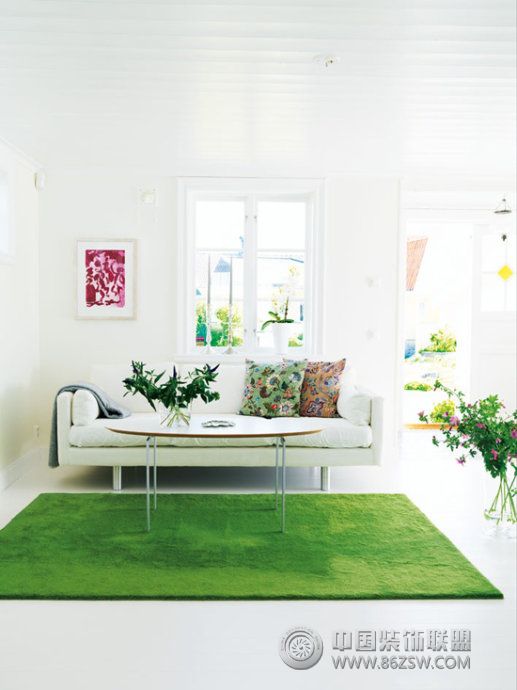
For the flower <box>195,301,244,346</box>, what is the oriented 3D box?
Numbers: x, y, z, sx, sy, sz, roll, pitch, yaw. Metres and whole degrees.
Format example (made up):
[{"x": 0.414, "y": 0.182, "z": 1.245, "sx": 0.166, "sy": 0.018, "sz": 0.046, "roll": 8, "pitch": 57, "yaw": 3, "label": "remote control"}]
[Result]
[{"x": -0.358, "y": -0.175, "z": 5.399, "sx": 0.424, "sy": 0.384, "sz": 0.180, "roll": 1, "pitch": 2, "yaw": -7, "label": "flower"}]

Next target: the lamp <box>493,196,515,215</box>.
[{"x": 2.276, "y": -1.292, "z": 5.573, "sx": 0.176, "sy": 0.154, "sz": 0.337, "roll": 2, "pitch": 2, "yaw": 22, "label": "lamp"}]

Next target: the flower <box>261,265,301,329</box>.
[{"x": 0.196, "y": -0.442, "z": 5.322, "sx": 0.335, "sy": 0.618, "sz": 0.329, "roll": 1, "pitch": 2, "yaw": -1, "label": "flower"}]

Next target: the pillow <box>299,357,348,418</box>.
[{"x": 0.474, "y": 0.329, "z": 4.461, "sx": 0.370, "sy": 0.410, "sz": 0.159, "roll": -2, "pitch": -22, "yaw": 25, "label": "pillow"}]

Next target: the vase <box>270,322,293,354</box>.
[{"x": 0.192, "y": -0.066, "z": 5.219, "sx": 0.254, "sy": 0.316, "sz": 0.234, "roll": 1, "pitch": -4, "yaw": 3, "label": "vase"}]

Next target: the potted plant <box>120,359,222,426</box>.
[{"x": -0.510, "y": 0.265, "z": 3.434, "sx": 0.569, "sy": 0.401, "sz": 0.496, "roll": -1, "pitch": -4, "yaw": 6, "label": "potted plant"}]

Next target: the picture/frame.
[{"x": -1.320, "y": -0.582, "z": 5.022, "sx": 0.698, "sy": 0.928, "sz": 0.045, "roll": 0, "pitch": 0, "yaw": -9, "label": "picture/frame"}]
